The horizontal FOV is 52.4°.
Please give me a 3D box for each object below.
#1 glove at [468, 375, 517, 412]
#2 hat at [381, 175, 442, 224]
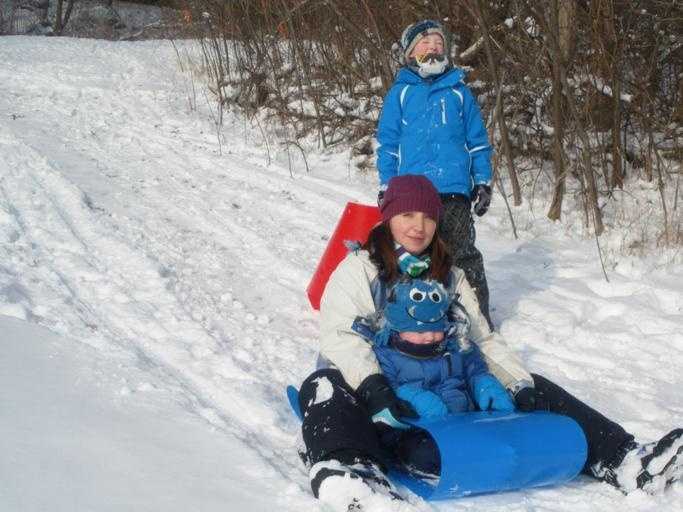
[{"bbox_3d":[0.945,0.863,4.378,0.166,0.084,0.243,-8,38,-11],"label":"glove"},{"bbox_3d":[0.459,-0.333,4.693,0.307,0.276,0.321,15,7,38],"label":"hat"}]
